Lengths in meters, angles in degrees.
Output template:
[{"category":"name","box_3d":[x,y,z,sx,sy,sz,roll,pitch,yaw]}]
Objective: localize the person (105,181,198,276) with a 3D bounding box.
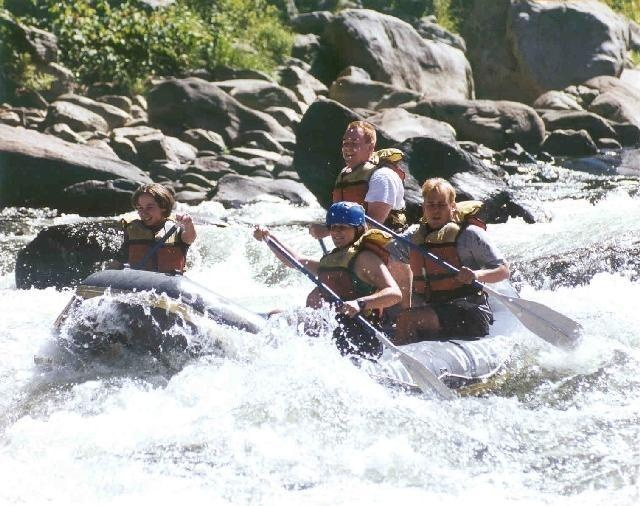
[{"category":"person","box_3d":[-1.433,-0.037,7.332,0.722,1.085,0.544,-3,-5,4]}]

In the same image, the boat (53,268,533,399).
[{"category":"boat","box_3d":[-0.456,0.724,6.976,2.753,0.748,1.480,18,-11,-25]}]

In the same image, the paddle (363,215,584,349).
[{"category":"paddle","box_3d":[1.358,0.293,7.525,1.887,0.266,0.087,38,32,4]}]

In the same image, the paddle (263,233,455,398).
[{"category":"paddle","box_3d":[0.386,0.531,6.845,1.214,0.214,0.674,40,25,16]}]
